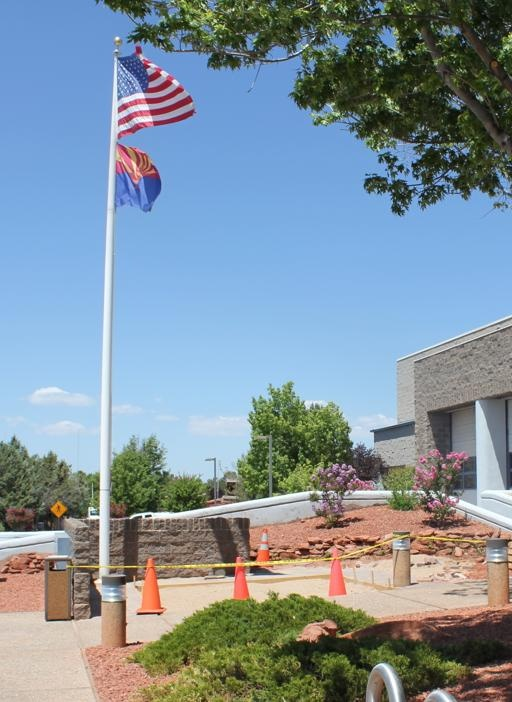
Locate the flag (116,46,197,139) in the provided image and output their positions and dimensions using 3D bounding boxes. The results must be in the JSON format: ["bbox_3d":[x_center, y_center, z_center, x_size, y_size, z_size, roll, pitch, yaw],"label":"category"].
[{"bbox_3d":[-1.989,-4.927,16.089,1.603,1.658,0.620,-12,-13,39],"label":"flag"}]

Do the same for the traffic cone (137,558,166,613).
[{"bbox_3d":[-1.496,3.360,12.172,0.357,0.655,0.740,-3,-10,-7],"label":"traffic cone"}]

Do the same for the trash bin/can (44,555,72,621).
[{"bbox_3d":[-2.646,3.226,11.692,0.398,0.843,0.256,0,-11,-22],"label":"trash bin/can"}]

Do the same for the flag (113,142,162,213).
[{"bbox_3d":[-2.305,-3.397,16.875,0.834,1.208,0.911,-2,-10,-9],"label":"flag"}]
